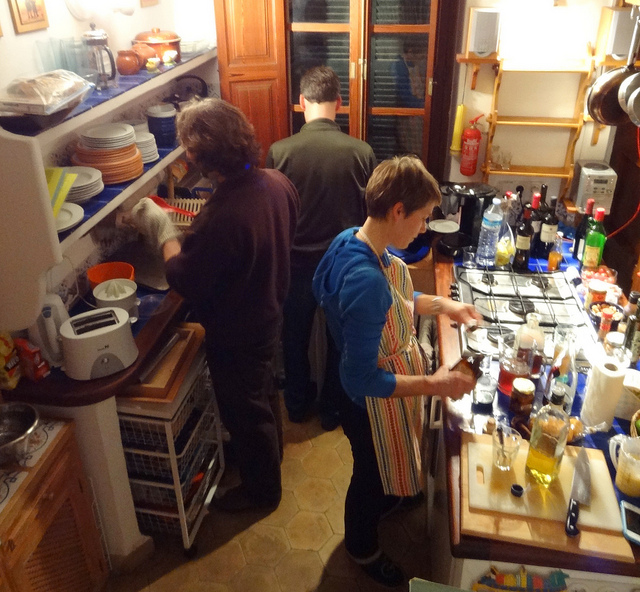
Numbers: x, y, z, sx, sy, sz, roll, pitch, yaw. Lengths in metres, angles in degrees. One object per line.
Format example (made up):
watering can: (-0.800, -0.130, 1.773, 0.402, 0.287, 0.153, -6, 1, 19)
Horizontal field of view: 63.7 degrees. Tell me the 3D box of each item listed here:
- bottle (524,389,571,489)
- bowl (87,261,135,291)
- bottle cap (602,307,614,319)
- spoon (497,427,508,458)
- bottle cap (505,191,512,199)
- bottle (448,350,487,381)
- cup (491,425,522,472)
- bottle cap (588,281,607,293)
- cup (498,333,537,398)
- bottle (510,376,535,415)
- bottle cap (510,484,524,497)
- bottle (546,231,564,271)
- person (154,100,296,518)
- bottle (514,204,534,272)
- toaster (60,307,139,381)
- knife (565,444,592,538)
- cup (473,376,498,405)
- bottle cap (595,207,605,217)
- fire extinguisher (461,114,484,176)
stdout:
bottle: (0.682, 0.414, 1.521, 0.097, 0.252, 0.137, 15, 28, 29)
bowl: (-1.005, -0.114, 2.466, 0.139, 0.114, 0.170, 2, 18, 3)
bottle cap: (1.230, 0.071, 2.192, 0.048, 0.038, 0.056, 2, 22, 10)
spoon: (0.555, 0.436, 1.548, 0.021, 0.095, 0.014, -10, 10, -29)
bottle cap: (1.063, -0.572, 2.904, 0.032, 0.048, 0.040, -19, 24, -36)
bottle: (0.520, 0.252, 1.791, 0.126, 0.082, 0.082, -6, 27, -12)
cup: (0.579, 0.475, 1.606, 0.099, 0.134, 0.104, 1, -7, 0)
bottle cap: (1.279, -0.037, 2.352, 0.080, 0.036, 0.084, 13, 30, 22)
cup: (0.719, 0.258, 1.857, 0.139, 0.191, 0.103, 14, 23, 32)
bottle: (0.698, 0.346, 1.770, 0.074, 0.138, 0.084, -1, 30, 1)
bottle cap: (0.570, 0.558, 1.481, 0.022, 0.024, 0.032, 4, 27, 13)
bottle: (1.244, -0.234, 2.720, 0.058, 0.229, 0.066, 13, 42, 27)
person: (-0.345, 0.191, 2.255, 0.568, 1.951, 0.387, -10, 25, -21)
bottle: (1.088, -0.306, 2.724, 0.086, 0.300, 0.246, 10, 27, 21)
toaster: (-0.863, 0.186, 2.008, 0.269, 0.211, 0.161, -15, 29, -29)
knife: (0.752, 0.564, 1.487, 0.062, 0.023, 0.426, -7, 27, 26)
cup: (0.599, 0.342, 1.882, 0.063, 0.097, 0.088, 0, 20, 4)
bottle cap: (1.356, -0.403, 2.483, 0.032, 0.044, 0.041, 13, 28, 25)
fire extinguisher: (0.987, -0.934, 3.326, 0.127, 0.284, 0.092, -3, 24, -6)
